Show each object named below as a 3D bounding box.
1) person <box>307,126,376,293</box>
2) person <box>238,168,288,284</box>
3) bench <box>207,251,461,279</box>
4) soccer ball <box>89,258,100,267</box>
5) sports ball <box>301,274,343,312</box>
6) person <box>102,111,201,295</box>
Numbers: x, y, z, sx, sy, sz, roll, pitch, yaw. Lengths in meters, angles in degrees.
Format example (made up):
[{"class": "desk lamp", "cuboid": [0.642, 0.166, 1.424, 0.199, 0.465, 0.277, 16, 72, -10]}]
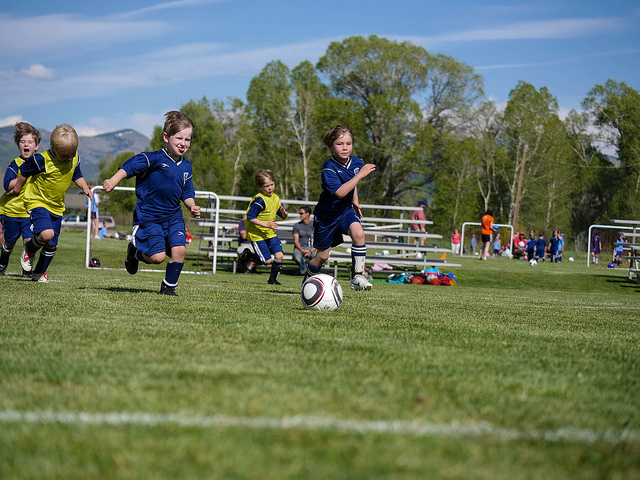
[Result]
[{"class": "person", "cuboid": [0.204, -0.266, 7.596, 0.704, 1.660, 0.841, 6, 11, 16]}, {"class": "person", "cuboid": [-0.782, -0.148, 10.656, 0.744, 1.578, 0.603, 0, 9, 17]}, {"class": "bench", "cuboid": [0.134, 0.442, 13.287, 2.746, 0.189, 0.930, 7, 5, -24]}, {"class": "soccer ball", "cuboid": [-3.832, 0.398, 13.285, 0.121, 0.146, 0.170, -8, 10, -1]}, {"class": "sports ball", "cuboid": [0.009, 0.438, 6.318, 0.326, 0.262, 0.377, 3, 11, -1]}, {"class": "person", "cuboid": [-1.433, -0.312, 6.939, 0.731, 1.623, 0.548, 0, 11, -17]}]
